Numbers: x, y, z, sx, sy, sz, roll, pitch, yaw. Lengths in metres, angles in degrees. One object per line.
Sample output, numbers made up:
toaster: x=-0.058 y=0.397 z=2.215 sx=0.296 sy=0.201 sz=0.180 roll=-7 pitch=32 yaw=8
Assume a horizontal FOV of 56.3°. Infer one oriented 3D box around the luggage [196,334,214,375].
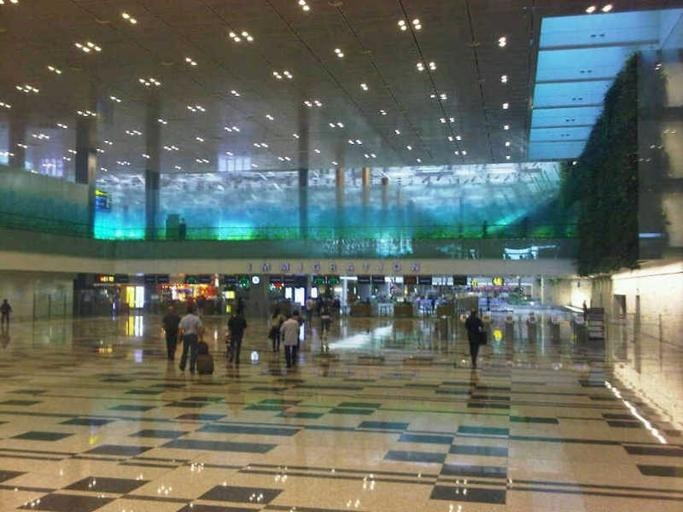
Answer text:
luggage: x=-3.667 y=2.759 z=17.095 sx=0.497 sy=1.091 sz=0.479 roll=-7 pitch=-34 yaw=-10
